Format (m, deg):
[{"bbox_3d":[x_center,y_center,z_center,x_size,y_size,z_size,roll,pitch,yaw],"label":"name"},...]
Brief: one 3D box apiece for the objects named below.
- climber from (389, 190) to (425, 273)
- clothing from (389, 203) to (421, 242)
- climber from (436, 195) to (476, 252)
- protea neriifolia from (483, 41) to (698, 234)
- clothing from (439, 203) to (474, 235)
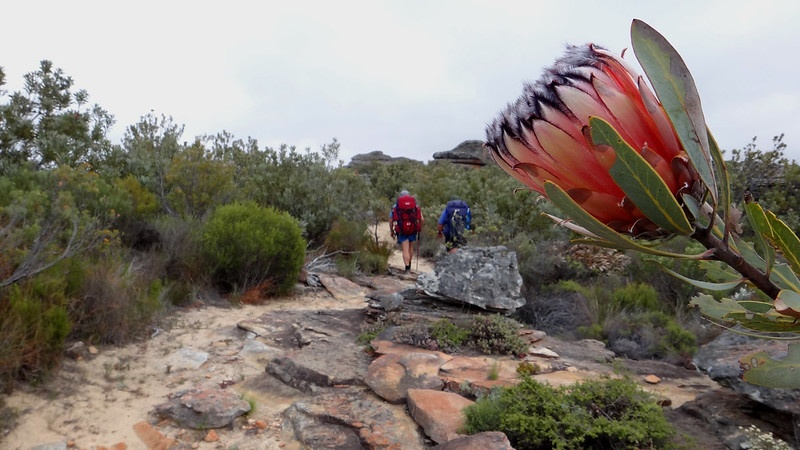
[{"bbox_3d":[0.121,0.160,11.467,0.715,1.955,0.853,0,1,-8],"label":"climber"},{"bbox_3d":[0.137,-0.152,11.450,0.691,0.965,0.552,-1,-8,-15],"label":"clothing"},{"bbox_3d":[1.457,-0.042,11.611,0.648,1.442,0.777,1,1,-25],"label":"climber"},{"bbox_3d":[1.319,-0.752,3.852,1.238,1.796,0.928,-42,-7,8],"label":"protea neriifolia"},{"bbox_3d":[1.408,-0.179,11.691,0.877,1.016,0.568,-6,13,-6],"label":"clothing"}]
